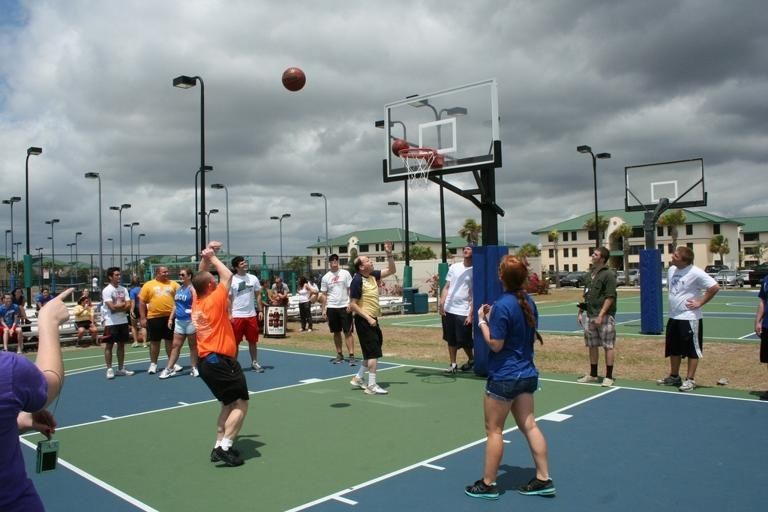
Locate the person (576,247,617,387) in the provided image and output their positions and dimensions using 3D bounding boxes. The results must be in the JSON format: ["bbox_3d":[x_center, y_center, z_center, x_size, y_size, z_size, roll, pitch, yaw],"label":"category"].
[{"bbox_3d":[4.024,1.117,12.317,0.629,2.599,0.741,-3,4,-18],"label":"person"}]

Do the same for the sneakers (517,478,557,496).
[{"bbox_3d":[1.913,2.854,8.179,0.439,0.205,0.192,0,-11,12],"label":"sneakers"}]

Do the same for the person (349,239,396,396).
[{"bbox_3d":[-0.245,1.123,12.329,0.817,2.781,1.333,-2,3,-3],"label":"person"}]

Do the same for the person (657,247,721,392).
[{"bbox_3d":[5.455,1.099,11.925,0.893,2.562,1.292,0,4,23],"label":"person"}]

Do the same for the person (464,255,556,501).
[{"bbox_3d":[1.549,1.496,8.173,0.993,2.966,0.433,-2,4,-10],"label":"person"}]

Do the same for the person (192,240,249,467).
[{"bbox_3d":[-2.334,1.328,9.384,0.701,3.073,1.025,-3,4,-16],"label":"person"}]

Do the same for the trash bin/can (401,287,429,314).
[{"bbox_3d":[1.609,2.007,29.582,1.256,1.279,0.785,0,-1,34],"label":"trash bin/can"}]

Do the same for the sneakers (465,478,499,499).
[{"bbox_3d":[1.218,2.888,8.199,0.421,0.186,0.193,2,-9,12],"label":"sneakers"}]

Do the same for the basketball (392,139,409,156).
[{"bbox_3d":[0.386,-2.450,14.838,0.399,0.384,0.235,0,4,31],"label":"basketball"}]
